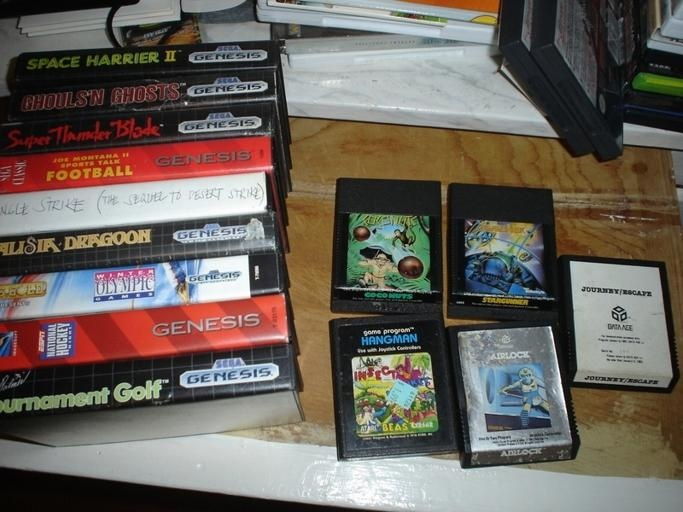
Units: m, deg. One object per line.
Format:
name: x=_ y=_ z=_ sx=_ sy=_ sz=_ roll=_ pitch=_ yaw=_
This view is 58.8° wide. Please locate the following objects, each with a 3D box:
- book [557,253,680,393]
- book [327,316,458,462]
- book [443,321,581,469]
book: x=0.490 y=0.136 z=1.101 sx=0.230 sy=0.057 sz=0.228 roll=-2 pitch=73 yaw=-8
book: x=0.089 y=0.220 z=1.029 sx=0.191 sy=0.150 sz=0.189 roll=-3 pitch=38 yaw=2
book: x=0.293 y=0.232 z=1.043 sx=0.196 sy=0.160 sz=0.180 roll=-4 pitch=38 yaw=1
